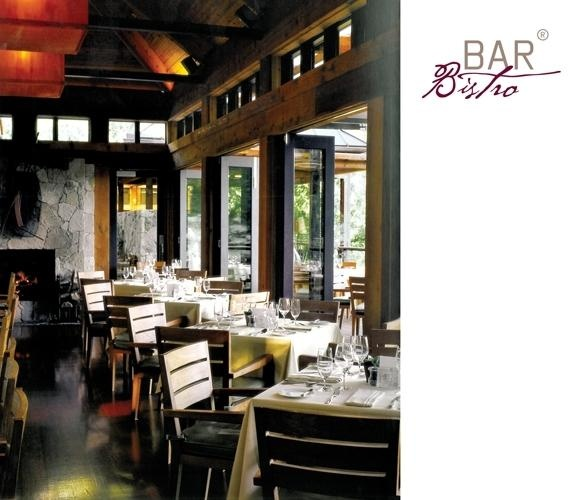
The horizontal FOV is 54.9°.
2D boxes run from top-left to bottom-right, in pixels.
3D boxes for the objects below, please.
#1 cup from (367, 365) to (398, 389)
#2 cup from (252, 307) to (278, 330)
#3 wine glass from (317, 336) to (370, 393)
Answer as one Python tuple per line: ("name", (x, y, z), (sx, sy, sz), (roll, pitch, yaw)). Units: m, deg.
("cup", (0.471, 0.634, 2.772), (0.143, 0.114, 0.083), (1, 0, 16))
("cup", (-0.191, 0.514, 4.208), (0.183, 0.199, 0.137), (2, 5, 26))
("wine glass", (0.296, 0.583, 2.924), (0.125, 0.226, 0.534), (0, 1, 11))
